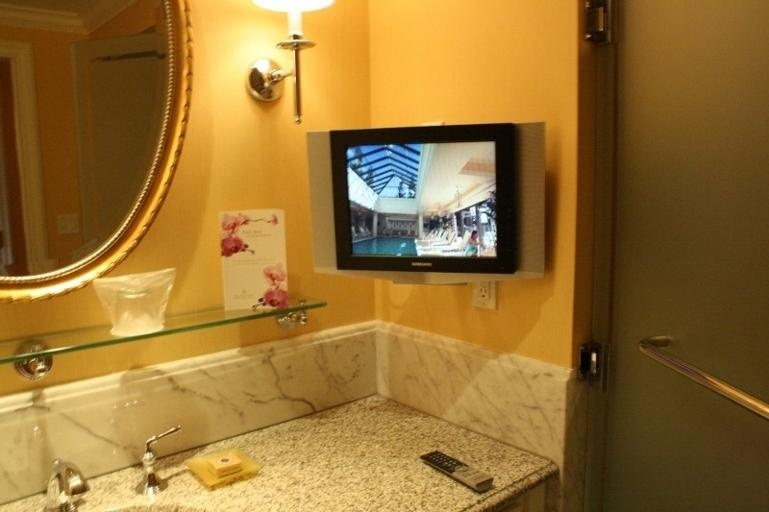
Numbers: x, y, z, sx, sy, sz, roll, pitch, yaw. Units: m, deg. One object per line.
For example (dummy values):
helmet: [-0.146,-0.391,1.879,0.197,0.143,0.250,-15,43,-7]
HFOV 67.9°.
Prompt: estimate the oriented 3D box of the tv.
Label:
tv: [0.146,-0.162,1.711,0.503,0.318,0.098,0,6,16]

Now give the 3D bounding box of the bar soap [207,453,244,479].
bar soap: [-0.470,0.613,1.693,0.090,0.032,0.085,-6,14,-27]

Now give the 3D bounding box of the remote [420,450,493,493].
remote: [0.209,0.616,1.667,0.074,0.026,0.189,-6,10,-34]

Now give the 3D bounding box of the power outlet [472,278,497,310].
power outlet: [0.322,0.120,1.829,0.018,0.126,0.110,3,-2,-38]
